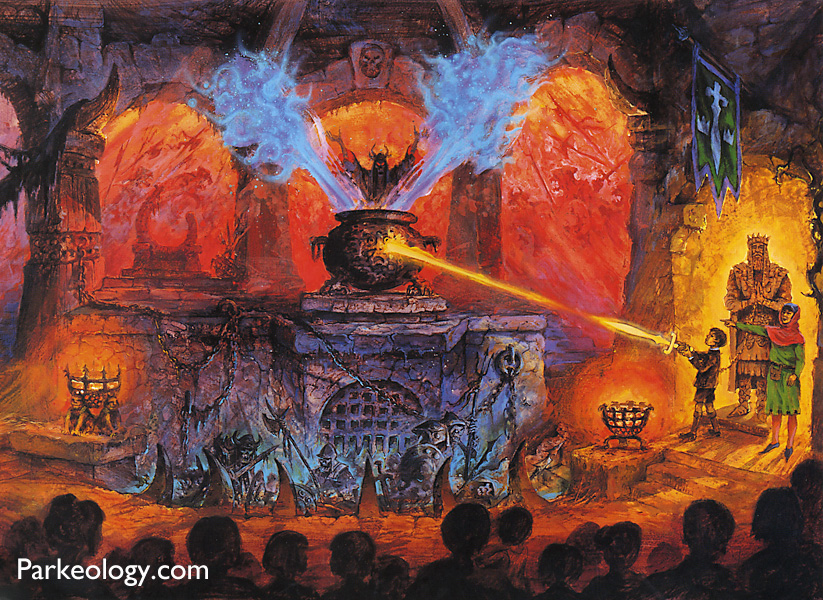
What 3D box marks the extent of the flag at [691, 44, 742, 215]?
[{"bbox_3d":[3.467,-1.971,19.005,0.545,1.764,0.651,-2,-18,9],"label":"flag"}]
